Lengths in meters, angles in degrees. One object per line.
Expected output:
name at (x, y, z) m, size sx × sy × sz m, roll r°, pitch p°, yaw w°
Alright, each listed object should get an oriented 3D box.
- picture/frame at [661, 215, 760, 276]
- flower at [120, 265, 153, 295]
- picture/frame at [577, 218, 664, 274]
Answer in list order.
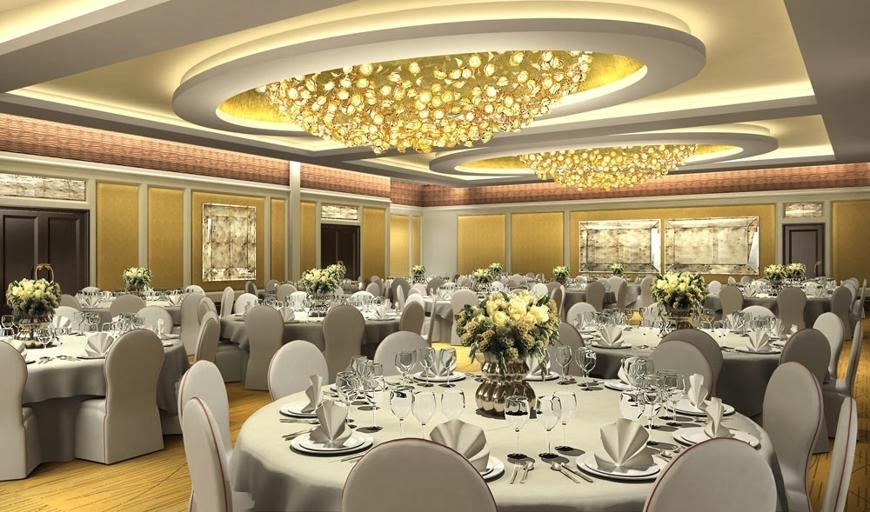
picture/frame at (8.256, -0.320, 16.553) m, size 2.638 × 1.795 × 0.079 m, roll 1°, pitch -7°, yaw 14°
flower at (-5.906, 0.497, 11.075) m, size 0.673 × 0.633 × 0.658 m, roll 2°, pitch -7°, yaw -37°
picture/frame at (5.880, -0.276, 17.684) m, size 2.547 × 1.765 × 0.078 m, roll 0°, pitch 10°, yaw 20°
